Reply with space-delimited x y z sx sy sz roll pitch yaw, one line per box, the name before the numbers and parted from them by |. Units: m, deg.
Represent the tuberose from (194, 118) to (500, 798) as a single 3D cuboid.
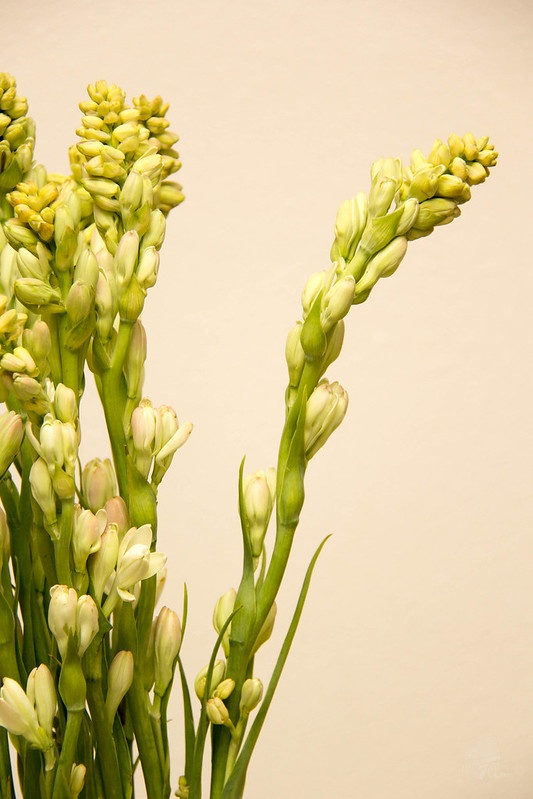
tuberose | 0.055 0.060 0.968 0.182 0.479 0.471 16 -39 -38
